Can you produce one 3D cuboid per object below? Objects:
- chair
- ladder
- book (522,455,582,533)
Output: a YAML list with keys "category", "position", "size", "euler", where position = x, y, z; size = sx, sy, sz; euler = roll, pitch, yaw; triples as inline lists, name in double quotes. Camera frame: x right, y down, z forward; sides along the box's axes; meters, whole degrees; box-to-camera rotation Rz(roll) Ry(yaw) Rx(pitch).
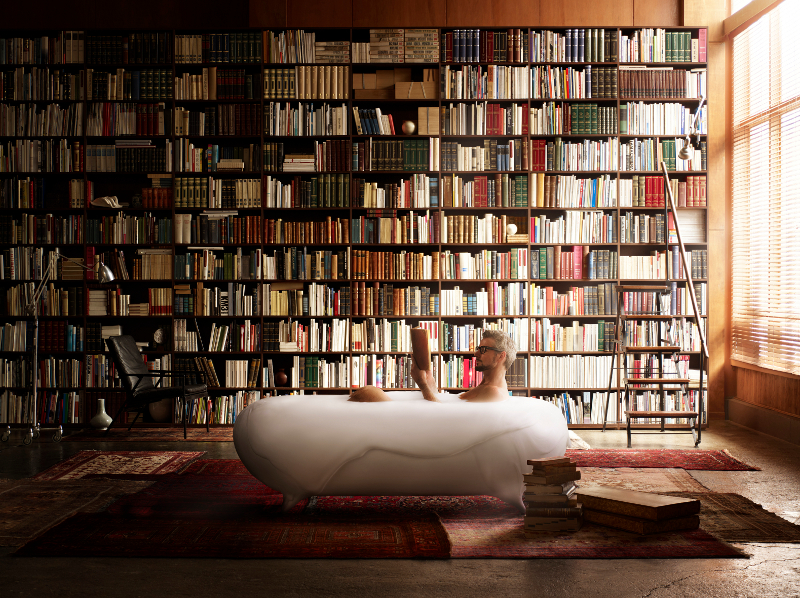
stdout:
- category: "chair"
  position: [-2.338, 0.777, 8.307]
  size: [1.030, 0.956, 0.825]
  euler: [-1, -1, -3]
- category: "ladder"
  position: [2.415, -0.033, 8.287]
  size: [1.013, 2.654, 1.021]
  euler: [-1, -1, 12]
- category: "book"
  position: [0.926, 1.197, 5.704]
  size: [0.358, 0.523, 0.500]
  euler: [0, -3, -13]
